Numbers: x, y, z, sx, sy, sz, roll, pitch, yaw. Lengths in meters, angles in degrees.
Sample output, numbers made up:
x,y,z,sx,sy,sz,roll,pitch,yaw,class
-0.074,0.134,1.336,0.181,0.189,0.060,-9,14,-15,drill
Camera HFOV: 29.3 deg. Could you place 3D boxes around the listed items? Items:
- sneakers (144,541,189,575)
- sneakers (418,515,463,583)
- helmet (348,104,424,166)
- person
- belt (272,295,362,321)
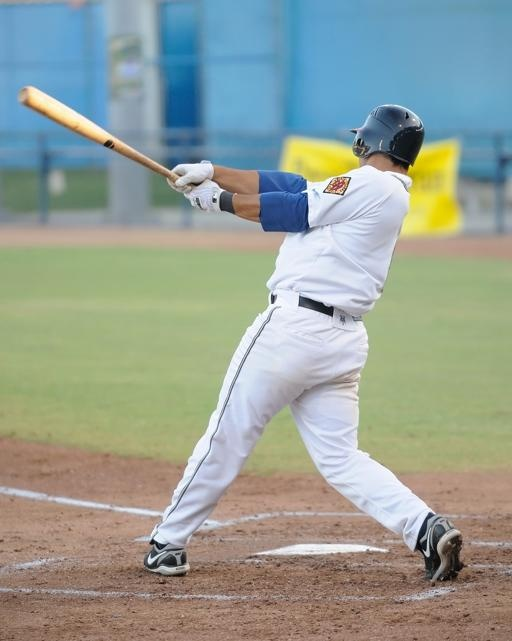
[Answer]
x,y,z,sx,sy,sz,roll,pitch,yaw,class
-0.321,0.875,3.596,0.088,0.083,0.209,2,-2,-27,sneakers
0.649,0.792,3.420,0.194,0.304,0.107,16,53,23,sneakers
0.515,-0.710,3.647,0.318,0.186,0.229,15,18,37,helmet
0.201,0.106,3.519,1.174,1.709,0.683,3,15,8,person
0.223,-0.041,3.400,0.180,0.032,0.140,13,0,9,belt
